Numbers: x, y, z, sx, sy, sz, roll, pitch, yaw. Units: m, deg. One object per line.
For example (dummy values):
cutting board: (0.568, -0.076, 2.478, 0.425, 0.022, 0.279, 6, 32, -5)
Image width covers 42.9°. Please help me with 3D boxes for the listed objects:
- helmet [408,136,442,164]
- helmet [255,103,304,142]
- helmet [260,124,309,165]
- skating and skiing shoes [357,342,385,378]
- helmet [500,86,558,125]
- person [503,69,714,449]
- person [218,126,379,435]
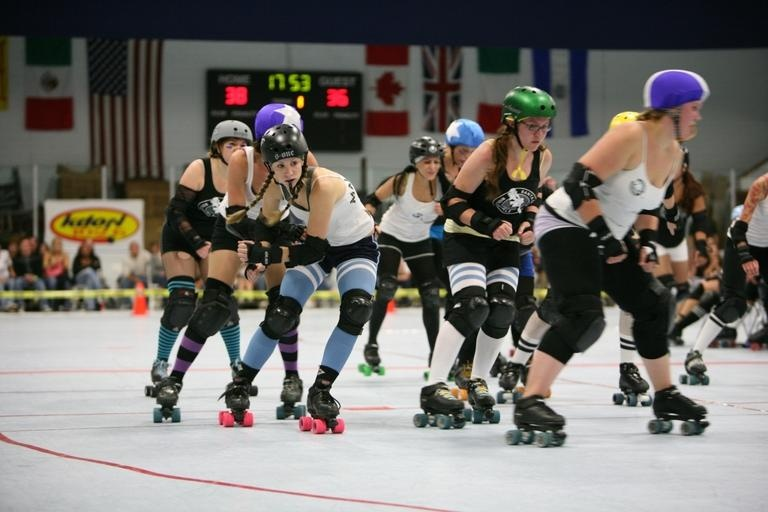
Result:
helmet: (0.344, -0.923, 8.533, 0.214, 0.249, 0.265, 1, 13, 1)
helmet: (-0.765, -0.959, 7.018, 0.347, 0.257, 0.241, -8, 6, -6)
helmet: (-0.667, -0.733, 6.428, 0.246, 0.281, 0.299, -8, 10, -7)
skating and skiing shoes: (-0.111, 0.968, 9.423, 0.169, 0.278, 0.460, 0, 7, -4)
helmet: (0.991, -1.037, 6.708, 0.245, 0.235, 0.314, -9, 16, -43)
person: (1.474, -0.003, 6.388, 1.228, 2.461, 0.593, 2, 4, -28)
person: (-0.563, 0.152, 6.738, 0.999, 2.049, 0.574, 3, 3, -1)
